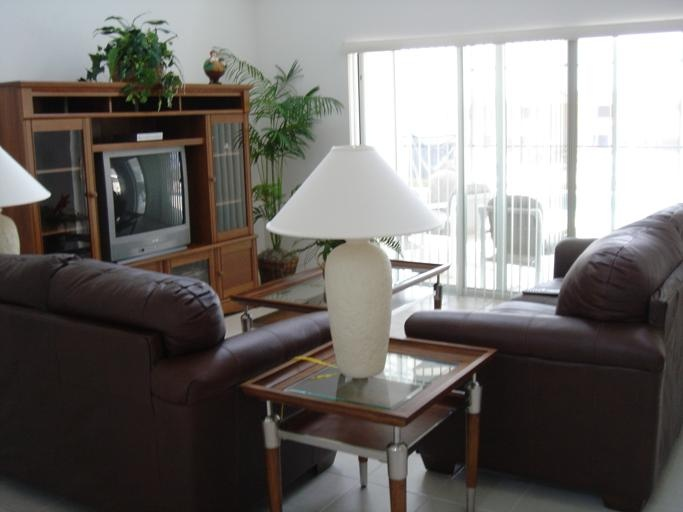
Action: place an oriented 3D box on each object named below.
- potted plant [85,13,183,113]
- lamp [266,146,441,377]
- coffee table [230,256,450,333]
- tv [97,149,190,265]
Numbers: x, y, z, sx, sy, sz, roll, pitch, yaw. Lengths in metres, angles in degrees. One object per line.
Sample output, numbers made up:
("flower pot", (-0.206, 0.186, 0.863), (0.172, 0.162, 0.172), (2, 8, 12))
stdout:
("potted plant", (-1.629, -1.598, 4.490), (0.916, 0.694, 0.830), (0, 13, -3))
("lamp", (0.014, -0.019, 2.212), (0.771, 1.050, 0.759), (-4, 8, -14))
("coffee table", (-0.037, 0.346, 3.760), (0.876, 0.383, 1.599), (-19, 7, -33))
("tv", (-1.689, -0.421, 4.528), (0.290, 0.871, 0.847), (4, 11, 28))
